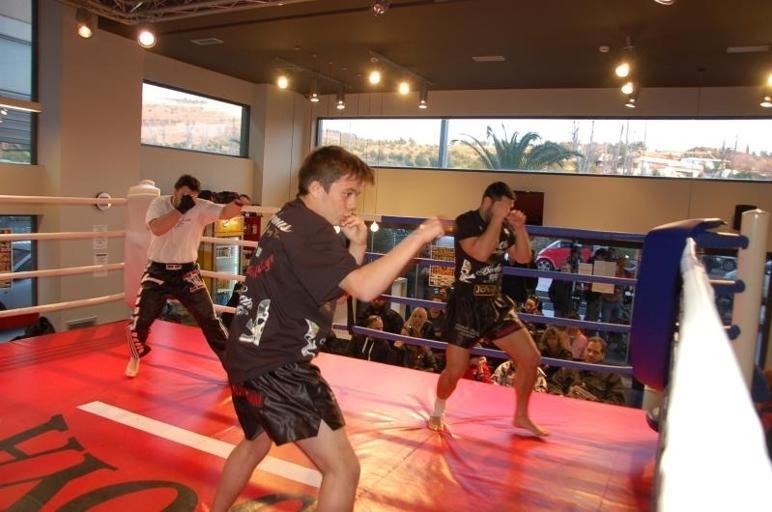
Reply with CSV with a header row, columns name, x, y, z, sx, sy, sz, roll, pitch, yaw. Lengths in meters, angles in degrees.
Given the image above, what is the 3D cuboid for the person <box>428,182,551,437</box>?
name,x,y,z,sx,sy,sz,roll,pitch,yaw
person,0.679,0.298,3.132,0.713,1.502,0.485,4,7,6

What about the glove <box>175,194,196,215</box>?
name,x,y,z,sx,sy,sz,roll,pitch,yaw
glove,-1.361,-0.350,3.424,0.114,0.134,0.057,21,-5,16
